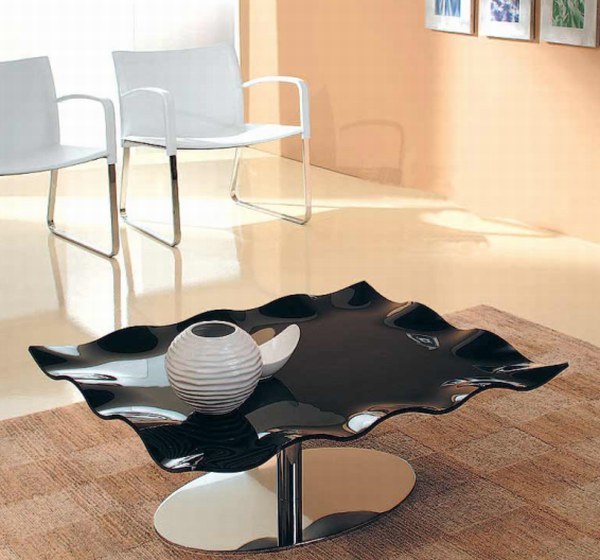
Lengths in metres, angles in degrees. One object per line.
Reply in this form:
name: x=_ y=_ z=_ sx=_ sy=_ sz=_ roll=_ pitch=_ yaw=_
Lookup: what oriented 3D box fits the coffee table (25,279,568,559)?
coffee table: x=-0.027 y=0.246 z=1.117 sx=0.687 sy=0.401 sz=0.585 roll=-8 pitch=15 yaw=-30
